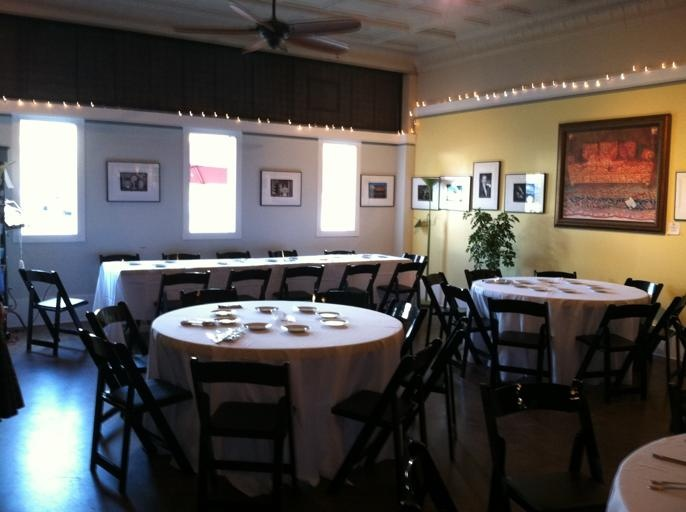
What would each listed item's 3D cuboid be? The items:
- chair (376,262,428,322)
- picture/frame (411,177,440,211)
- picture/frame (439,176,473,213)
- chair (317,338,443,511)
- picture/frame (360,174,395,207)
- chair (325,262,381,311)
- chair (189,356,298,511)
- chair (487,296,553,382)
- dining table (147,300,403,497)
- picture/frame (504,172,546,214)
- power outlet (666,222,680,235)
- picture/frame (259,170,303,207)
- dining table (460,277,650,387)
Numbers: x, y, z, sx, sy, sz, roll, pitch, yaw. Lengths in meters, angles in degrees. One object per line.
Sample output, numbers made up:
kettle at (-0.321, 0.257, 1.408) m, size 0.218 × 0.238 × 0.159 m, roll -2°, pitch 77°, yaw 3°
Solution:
chair at (0.775, 0.399, 7.432) m, size 0.625 × 0.956 × 0.643 m, roll -4°, pitch 10°, yaw -30°
picture/frame at (1.440, -1.071, 9.410) m, size 0.022 × 0.473 × 0.595 m, roll -2°, pitch 2°, yaw -30°
picture/frame at (1.867, -1.016, 8.920) m, size 0.056 × 0.598 × 0.549 m, roll 2°, pitch 5°, yaw -41°
chair at (0.289, 1.090, 4.176) m, size 0.869 × 1.365 × 0.911 m, roll 4°, pitch 3°, yaw 21°
picture/frame at (0.583, -1.177, 9.719) m, size 0.577 × 0.516 × 0.023 m, roll 1°, pitch 1°, yaw -33°
chair at (0.073, 0.328, 6.678) m, size 0.445 × 0.845 × 0.620 m, roll 0°, pitch 11°, yaw -15°
chair at (-0.616, 1.049, 3.463) m, size 0.631 × 0.927 × 0.578 m, roll 0°, pitch 9°, yaw -6°
chair at (1.734, 0.830, 5.295) m, size 0.623 × 0.941 × 0.597 m, roll 5°, pitch 10°, yaw 22°
dining table at (-0.283, 0.804, 4.242) m, size 1.355 × 0.822 × 1.390 m, roll 1°, pitch 3°, yaw -4°
picture/frame at (2.659, -0.905, 7.873) m, size 0.063 × 0.672 × 0.605 m, roll -6°, pitch 2°, yaw -35°
power outlet at (3.904, -0.323, 6.426) m, size 0.143 × 0.157 × 0.036 m, roll 0°, pitch -1°, yaw 41°
picture/frame at (-1.048, -1.107, 8.848) m, size 0.572 × 0.513 × 0.044 m, roll -2°, pitch 4°, yaw -32°
dining table at (2.148, 0.573, 5.555) m, size 1.116 × 0.705 × 1.226 m, roll -2°, pitch 6°, yaw -4°
